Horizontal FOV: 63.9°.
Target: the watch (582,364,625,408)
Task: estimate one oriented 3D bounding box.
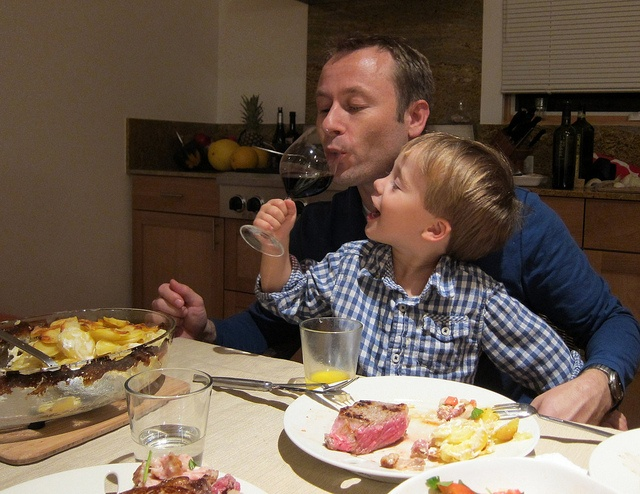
[{"bbox_3d":[0.586,0.299,1.086,0.088,0.078,0.073,-3,7,-36],"label":"watch"}]

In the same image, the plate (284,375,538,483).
[{"bbox_3d":[0.116,0.231,0.772,0.314,0.085,0.239,-3,7,-32],"label":"plate"}]

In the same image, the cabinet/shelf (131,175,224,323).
[{"bbox_3d":[-0.774,-0.099,3.194,0.481,0.945,0.521,9,15,35],"label":"cabinet/shelf"}]

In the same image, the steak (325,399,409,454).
[{"bbox_3d":[0.069,0.258,0.743,0.118,0.047,0.095,2,11,9],"label":"steak"}]

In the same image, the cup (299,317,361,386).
[{"bbox_3d":[0.020,0.182,0.932,0.109,0.120,0.113,0,0,0],"label":"cup"}]

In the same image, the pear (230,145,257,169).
[{"bbox_3d":[-0.448,-0.528,3.039,0.149,0.149,0.140,-2,5,3],"label":"pear"}]

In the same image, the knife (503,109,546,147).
[{"bbox_3d":[1.052,-0.624,2.657,0.057,0.126,0.235,-37,-13,-21],"label":"knife"}]

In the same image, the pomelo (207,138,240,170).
[{"bbox_3d":[-0.571,-0.569,3.216,0.186,0.215,0.206,14,14,9],"label":"pomelo"}]

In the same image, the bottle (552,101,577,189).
[{"bbox_3d":[1.222,-0.511,2.575,0.122,0.469,0.104,9,13,33],"label":"bottle"}]

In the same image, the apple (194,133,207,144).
[{"bbox_3d":[-0.755,-0.686,3.243,0.062,0.045,0.070,14,10,0],"label":"apple"}]
